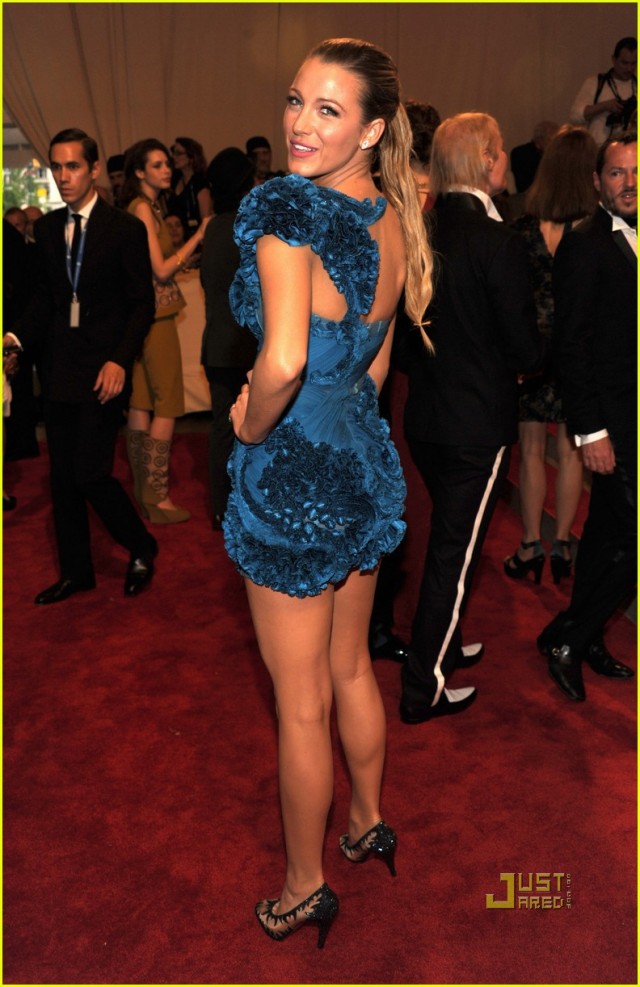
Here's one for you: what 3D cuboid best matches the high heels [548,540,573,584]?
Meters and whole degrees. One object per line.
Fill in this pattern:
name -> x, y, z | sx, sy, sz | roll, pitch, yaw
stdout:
high heels -> 1.144, 0.307, 3.325 | 0.080, 0.094, 0.249 | 2, 53, 9

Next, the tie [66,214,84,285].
tie -> -1.000, -0.999, 2.858 | 0.068, 0.283, 0.062 | -2, 11, -6

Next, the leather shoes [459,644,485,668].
leather shoes -> 0.568, 0.588, 2.614 | 0.065, 0.072, 0.116 | 4, 16, 30

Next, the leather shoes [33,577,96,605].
leather shoes -> -1.168, 0.438, 3.254 | 0.291, 0.116, 0.099 | -9, 31, -34

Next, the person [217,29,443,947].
person -> -0.007, 0.100, 1.220 | 0.256, 1.563, 0.522 | 6, 13, 29

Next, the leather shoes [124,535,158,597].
leather shoes -> -0.828, 0.349, 3.292 | 0.106, 0.336, 0.131 | 4, -2, 4

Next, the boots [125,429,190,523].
boots -> -1.011, -0.096, 4.314 | 0.418, 0.613, 0.232 | 2, 49, -5

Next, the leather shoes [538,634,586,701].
leather shoes -> 0.851, 0.592, 2.456 | 0.086, 0.102, 0.248 | 3, 50, -46
